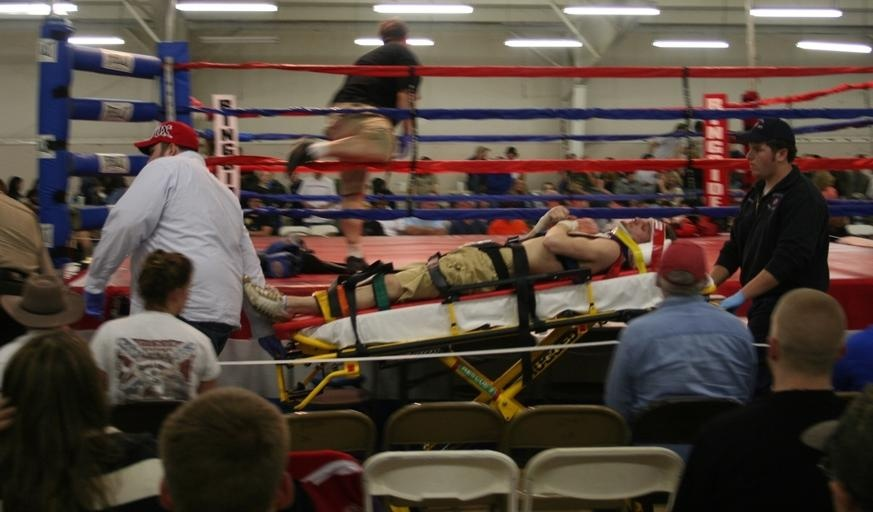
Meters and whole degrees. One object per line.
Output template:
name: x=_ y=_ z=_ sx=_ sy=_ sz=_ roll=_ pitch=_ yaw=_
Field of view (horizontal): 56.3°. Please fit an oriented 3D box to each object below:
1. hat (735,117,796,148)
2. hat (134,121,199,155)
hat: x=2.311 y=-0.877 z=5.770 sx=0.380 sy=0.137 sz=0.231 roll=1 pitch=1 yaw=7
hat: x=-1.974 y=-0.869 z=5.929 sx=0.453 sy=0.172 sz=0.249 roll=2 pitch=1 yaw=-7
